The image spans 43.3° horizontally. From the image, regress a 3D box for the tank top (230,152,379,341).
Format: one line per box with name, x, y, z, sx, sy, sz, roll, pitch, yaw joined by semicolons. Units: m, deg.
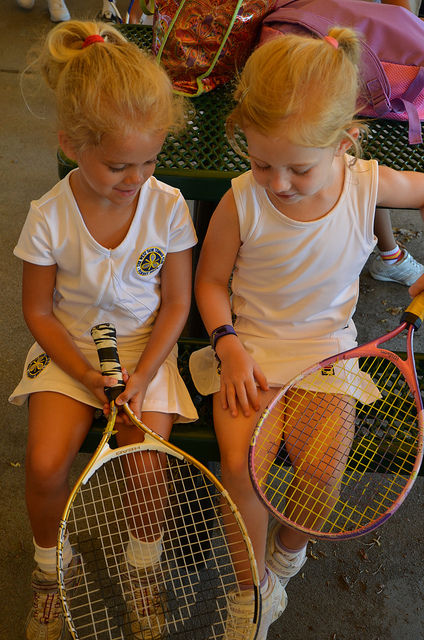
tank top;0.203;-0.133;1.153;0.319;0.351;0.277;-5;53;-12
